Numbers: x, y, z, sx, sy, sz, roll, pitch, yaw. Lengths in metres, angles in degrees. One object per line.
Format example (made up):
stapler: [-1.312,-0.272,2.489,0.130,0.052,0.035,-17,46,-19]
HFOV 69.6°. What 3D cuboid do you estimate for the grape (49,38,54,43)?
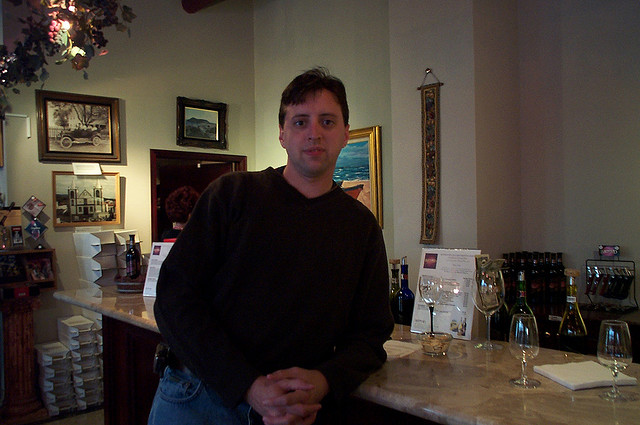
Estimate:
grape: [-1.180,-0.753,2.020,0.016,0.020,0.017,12,10,16]

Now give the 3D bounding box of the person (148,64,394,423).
person: [-0.190,0.129,2.230,1.122,1.617,0.617,-8,13,-28]

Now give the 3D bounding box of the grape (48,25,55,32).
grape: [-1.175,-0.802,2.010,0.024,0.017,0.029,-7,16,-22]

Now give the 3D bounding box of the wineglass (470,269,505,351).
wineglass: [0.938,0.536,2.567,0.190,0.471,0.207,-3,11,-6]

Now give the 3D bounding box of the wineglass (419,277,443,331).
wineglass: [0.630,0.515,2.601,0.129,0.303,0.071,1,12,14]

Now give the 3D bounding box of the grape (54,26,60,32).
grape: [-1.167,-0.812,2.043,0.022,0.012,0.023,-4,-5,20]

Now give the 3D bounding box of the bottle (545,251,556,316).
bottle: [2.082,0.639,4.145,0.114,0.451,0.385,4,13,26]

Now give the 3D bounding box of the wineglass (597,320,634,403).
wineglass: [1.369,0.656,2.110,0.157,0.342,0.248,6,14,34]

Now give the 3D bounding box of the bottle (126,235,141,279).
bottle: [-1.563,0.359,3.846,0.095,0.347,0.390,-6,12,-21]

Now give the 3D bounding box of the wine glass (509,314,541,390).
wine glass: [0.997,0.645,2.222,0.148,0.326,0.268,3,12,20]

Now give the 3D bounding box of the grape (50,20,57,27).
grape: [-1.168,-0.831,2.020,0.026,0.014,0.026,28,-40,-23]

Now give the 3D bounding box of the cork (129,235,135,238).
cork: [-1.557,0.201,3.820,0.042,0.042,0.023,1,-4,-40]

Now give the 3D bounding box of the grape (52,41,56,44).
grape: [-1.186,-0.755,2.046,0.018,0.006,0.019,-3,3,-33]

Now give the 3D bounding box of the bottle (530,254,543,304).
bottle: [1.991,0.610,4.199,0.115,0.400,0.263,4,13,25]
